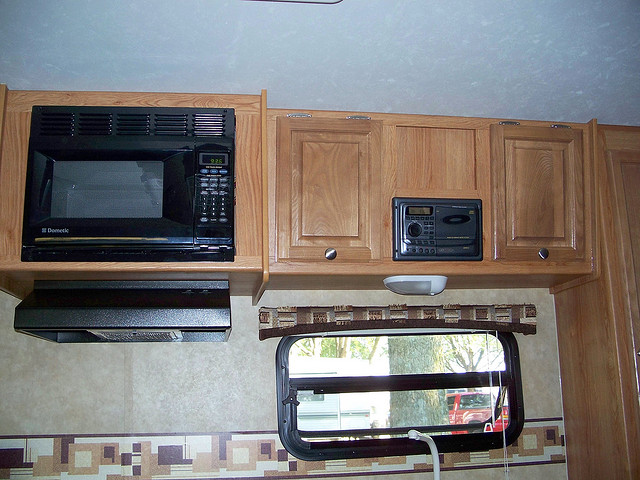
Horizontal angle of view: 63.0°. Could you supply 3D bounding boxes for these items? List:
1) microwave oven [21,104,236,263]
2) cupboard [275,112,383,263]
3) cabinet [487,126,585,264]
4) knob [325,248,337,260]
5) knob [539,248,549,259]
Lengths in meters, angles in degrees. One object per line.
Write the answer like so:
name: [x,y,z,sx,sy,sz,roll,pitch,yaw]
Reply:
microwave oven: [-0.872,-0.255,2.685,0.998,0.668,0.775,2,4,-6]
cupboard: [0.014,-0.267,2.647,0.563,0.672,0.472,-3,6,-16]
cabinet: [1.091,-0.233,2.714,0.484,0.674,0.394,0,4,7]
knob: [0.051,0.060,2.418,0.057,0.051,0.022,-1,0,-8]
knob: [1.088,0.060,2.538,0.046,0.046,0.013,-2,0,-16]
